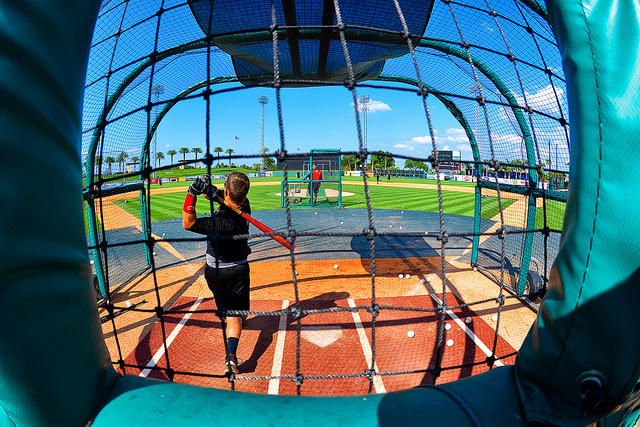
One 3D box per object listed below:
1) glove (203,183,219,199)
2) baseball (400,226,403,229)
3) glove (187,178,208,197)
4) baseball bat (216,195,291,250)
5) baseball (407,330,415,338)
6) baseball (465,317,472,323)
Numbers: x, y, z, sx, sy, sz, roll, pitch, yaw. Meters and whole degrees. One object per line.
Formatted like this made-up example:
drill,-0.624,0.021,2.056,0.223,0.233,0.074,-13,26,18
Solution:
glove,-1.100,-0.221,4.149,0.097,0.113,0.132,-4,-2,-5
baseball,2.442,0.425,12.334,0.045,0.048,0.052,-12,-25,28
glove,-1.242,-0.259,4.229,0.207,0.168,0.104,-15,-9,13
baseball bat,-0.749,0.038,4.537,1.332,0.187,0.094,28,-19,28
baseball,1.155,1.525,5.206,0.086,0.048,0.116,-2,5,12
baseball,2.010,1.439,5.559,0.093,0.040,0.114,-2,5,13
